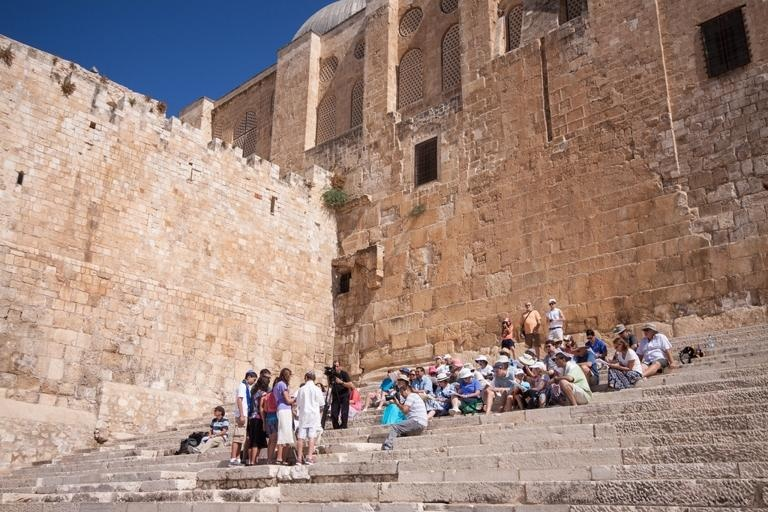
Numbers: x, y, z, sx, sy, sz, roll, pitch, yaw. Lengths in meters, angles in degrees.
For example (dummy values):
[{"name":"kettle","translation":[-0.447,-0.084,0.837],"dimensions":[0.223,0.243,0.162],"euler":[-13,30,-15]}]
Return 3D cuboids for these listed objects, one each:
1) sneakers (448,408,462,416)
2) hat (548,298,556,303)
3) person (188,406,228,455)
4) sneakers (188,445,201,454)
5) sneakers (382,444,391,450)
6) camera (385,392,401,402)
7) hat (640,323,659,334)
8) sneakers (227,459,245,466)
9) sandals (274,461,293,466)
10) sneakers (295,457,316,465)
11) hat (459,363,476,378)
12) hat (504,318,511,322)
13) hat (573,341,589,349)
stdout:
[{"name":"sneakers","translation":[1.337,2.969,11.858],"dimensions":[0.211,0.119,0.103],"euler":[15,27,21]},{"name":"hat","translation":[3.900,1.045,14.513],"dimensions":[0.182,0.089,0.226],"euler":[-1,-4,8]},{"name":"person","translation":[-3.513,3.662,12.886],"dimensions":[0.472,0.975,0.926],"euler":[-36,-40,15]},{"name":"sneakers","translation":[-3.828,3.906,12.547],"dimensions":[0.275,0.137,0.075],"euler":[-23,-29,37]},{"name":"sneakers","translation":[0.033,3.323,10.813],"dimensions":[0.093,0.046,0.127],"euler":[-2,-13,23]},{"name":"camera","translation":[0.187,2.793,12.225],"dimensions":[0.285,0.213,0.503],"euler":[0,-12,-6]},{"name":"hat","translation":[5.489,1.504,12.872],"dimensions":[0.431,0.192,0.566],"euler":[2,-6,18]},{"name":"sneakers","translation":[-2.649,3.672,11.091],"dimensions":[0.290,0.125,0.104],"euler":[8,-8,-17]},{"name":"sandals","translation":[-1.730,3.567,10.687],"dimensions":[0.293,0.088,0.106],"euler":[7,-9,-34]},{"name":"sneakers","translation":[-1.355,3.476,10.525],"dimensions":[0.302,0.122,0.233],"euler":[-1,-23,-9]},{"name":"hat","translation":[1.572,2.295,12.312],"dimensions":[0.279,0.126,0.261],"euler":[-20,-4,18]},{"name":"hat","translation":[3.152,1.640,16.110],"dimensions":[0.157,0.076,0.228],"euler":[-12,-8,17]},{"name":"hat","translation":[4.297,1.954,13.654],"dimensions":[0.359,0.097,0.367],"euler":[-21,-7,22]}]
